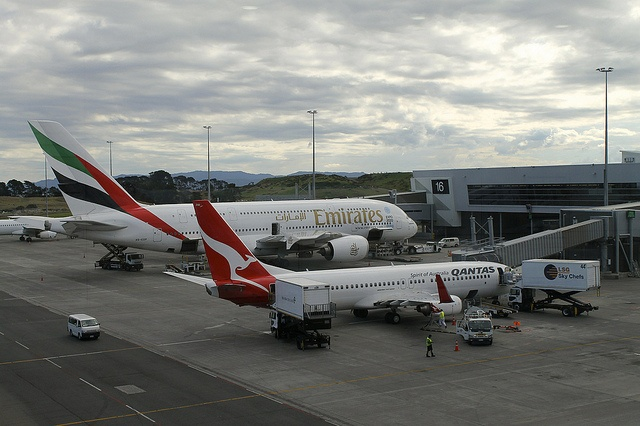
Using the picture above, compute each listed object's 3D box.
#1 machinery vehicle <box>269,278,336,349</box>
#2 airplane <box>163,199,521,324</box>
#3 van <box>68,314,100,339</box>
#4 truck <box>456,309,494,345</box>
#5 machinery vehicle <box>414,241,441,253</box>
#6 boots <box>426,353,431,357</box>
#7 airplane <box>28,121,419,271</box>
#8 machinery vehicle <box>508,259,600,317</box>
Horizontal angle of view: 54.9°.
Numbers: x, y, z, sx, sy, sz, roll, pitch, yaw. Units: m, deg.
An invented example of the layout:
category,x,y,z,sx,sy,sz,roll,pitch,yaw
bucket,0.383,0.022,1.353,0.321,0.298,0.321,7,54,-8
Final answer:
category,x,y,z,sx,sy,sz,roll,pitch,yaw
machinery vehicle,-0.596,8.097,50.649,4.752,3.606,6.980,4,-3,-18
airplane,3.609,4.137,55.570,32.516,11.696,7.145,-2,14,-9
van,-20.081,9.473,52.171,2.055,0.990,3.081,-1,0,-40
truck,12.880,9.490,51.401,2.840,2.102,3.446,2,11,10
machinery vehicle,17.014,5.534,97.474,4.050,0.859,2.056,-2,4,-11
boots,8.373,10.847,47.505,0.332,0.299,0.332,1,12,7
airplane,-12.872,-0.847,80.497,34.122,7.086,27.076,-2,4,-33
machinery vehicle,22.607,7.091,59.467,7.149,5.389,2.289,4,16,22
